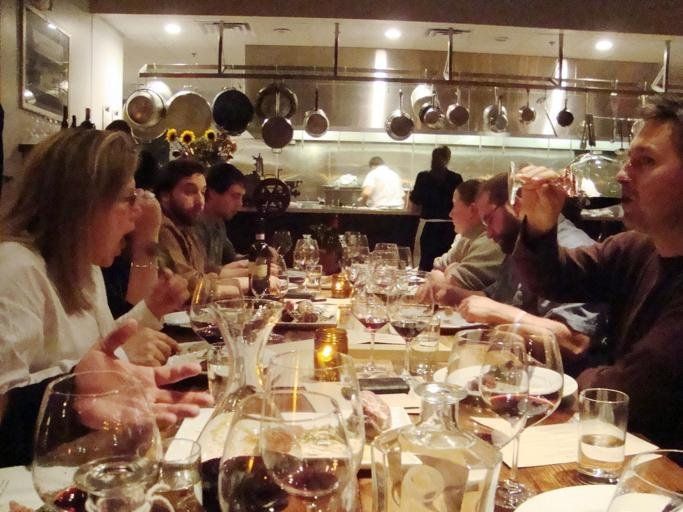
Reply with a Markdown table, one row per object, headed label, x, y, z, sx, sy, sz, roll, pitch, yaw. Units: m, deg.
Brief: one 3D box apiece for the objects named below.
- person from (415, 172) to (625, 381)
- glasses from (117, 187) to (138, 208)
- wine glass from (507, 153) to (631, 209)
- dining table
| label | x | y | z | sx | sy | sz | roll | pitch | yaw |
| --- | --- | --- | --- | --- | --- | --- | --- | --- | --- |
| person | 0.681 | 0.042 | 2.805 | 0.779 | 1.393 | 1.056 | 1 | -6 | 4 |
| glasses | -0.675 | -0.180 | 1.901 | 0.048 | 0.037 | 0.040 | 1 | 8 | -1 |
| wine glass | 0.637 | -0.211 | 1.717 | 0.298 | 0.158 | 0.155 | 3 | -1 | 12 |
| dining table | -0.090 | 0.240 | 1.231 | 0.917 | 0.234 | 0.415 | 6 | 9 | 24 |
